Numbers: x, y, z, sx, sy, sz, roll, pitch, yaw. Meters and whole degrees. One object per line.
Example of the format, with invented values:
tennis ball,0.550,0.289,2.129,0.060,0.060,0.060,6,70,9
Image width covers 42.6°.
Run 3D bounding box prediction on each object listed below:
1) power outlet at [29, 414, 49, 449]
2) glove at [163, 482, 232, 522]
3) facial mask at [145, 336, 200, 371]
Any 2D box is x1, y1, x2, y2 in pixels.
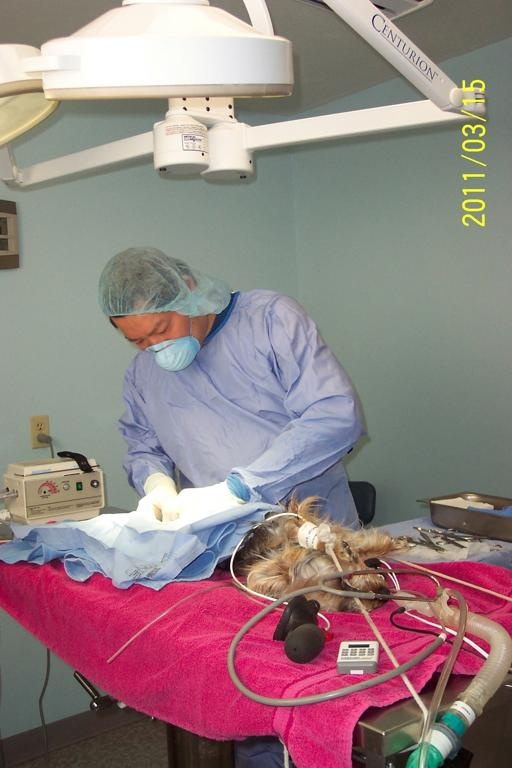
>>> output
power outlet,-0.907,0.199,2.768,0.095,0.144,0.037,-12,10,-42
glove,-0.115,0.250,1.405,0.113,0.045,0.109,-15,8,-17
facial mask,-0.207,-0.059,1.642,0.095,0.055,0.094,-9,39,15
